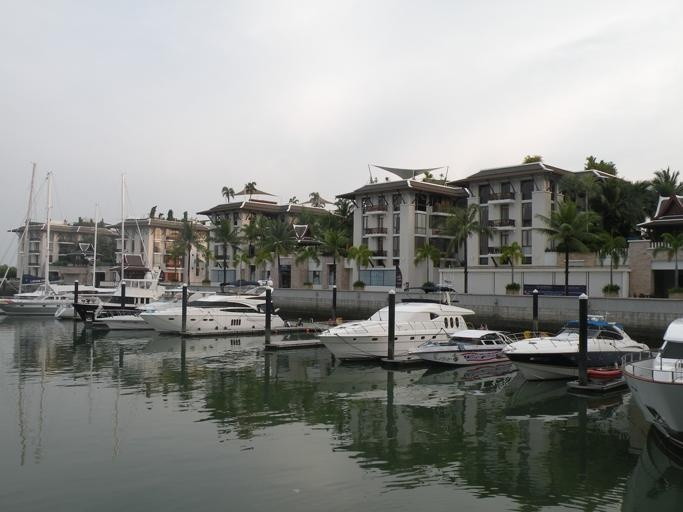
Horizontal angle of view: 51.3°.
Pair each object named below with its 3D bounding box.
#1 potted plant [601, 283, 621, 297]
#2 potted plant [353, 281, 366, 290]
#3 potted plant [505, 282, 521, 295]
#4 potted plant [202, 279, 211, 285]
[{"bbox_3d":[22.015,2.805,57.879,1.130,1.071,0.977,1,0,14],"label":"potted plant"},{"bbox_3d":[1.910,3.323,79.010,0.974,0.825,0.958,1,-1,-11],"label":"potted plant"},{"bbox_3d":[15.304,2.925,63.204,1.166,1.040,0.953,0,-4,6],"label":"potted plant"},{"bbox_3d":[-20.108,3.921,105.560,1.019,0.598,0.948,1,-2,-9],"label":"potted plant"}]
